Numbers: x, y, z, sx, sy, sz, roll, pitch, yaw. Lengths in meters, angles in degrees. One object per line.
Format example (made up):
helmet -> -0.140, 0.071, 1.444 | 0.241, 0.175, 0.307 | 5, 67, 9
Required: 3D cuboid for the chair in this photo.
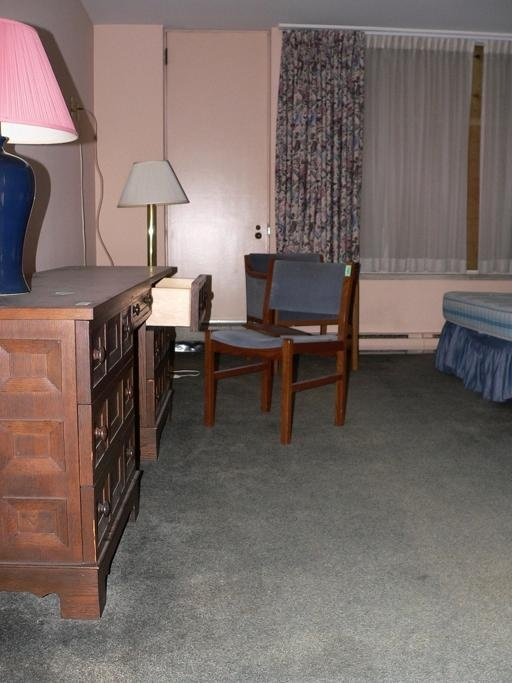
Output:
chair -> 0.182, -0.034, 3.080 | 0.674, 0.814, 1.366 | 2, 8, 10
